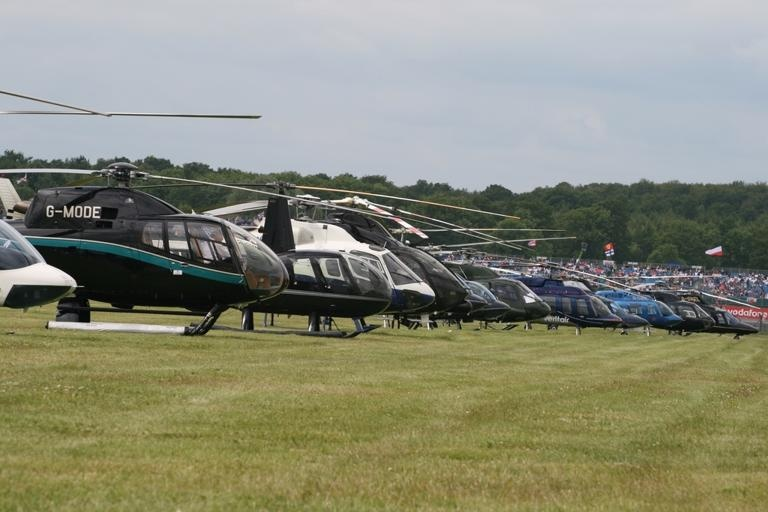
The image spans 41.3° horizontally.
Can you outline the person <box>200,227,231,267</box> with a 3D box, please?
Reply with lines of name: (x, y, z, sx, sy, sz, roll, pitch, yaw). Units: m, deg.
person: (-4.440, -0.354, 27.306, 0.813, 0.970, 0.148, 4, -5, -5)
